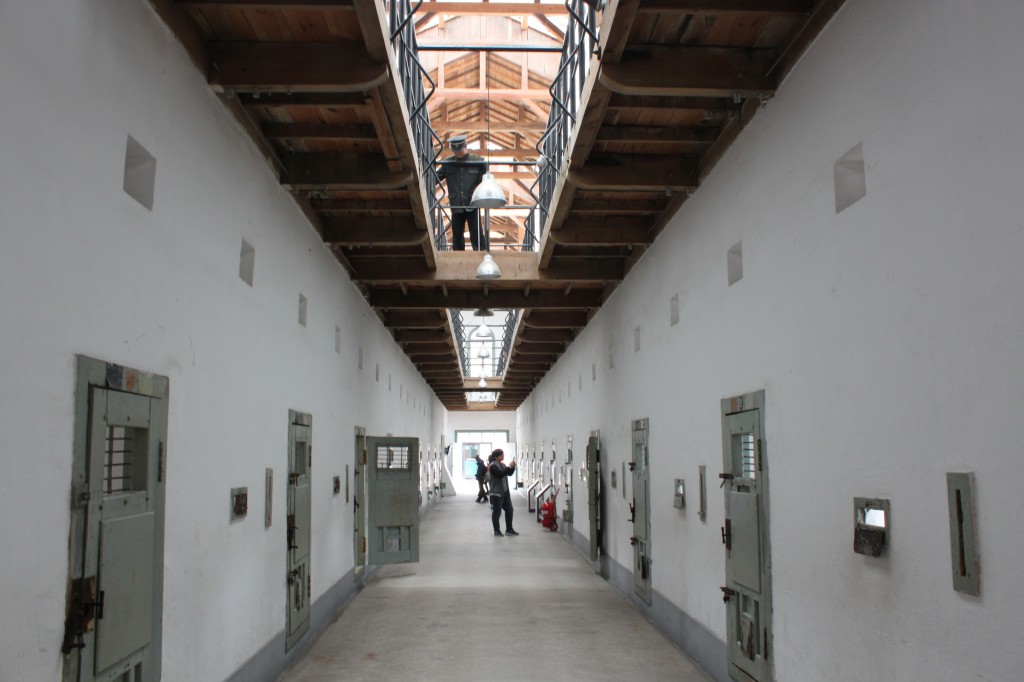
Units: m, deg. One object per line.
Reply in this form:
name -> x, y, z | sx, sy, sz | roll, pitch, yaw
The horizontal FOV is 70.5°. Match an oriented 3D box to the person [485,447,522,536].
person -> -0.212, 3.337, 16.077 | 0.539, 1.902, 0.636 | 6, -12, -35
